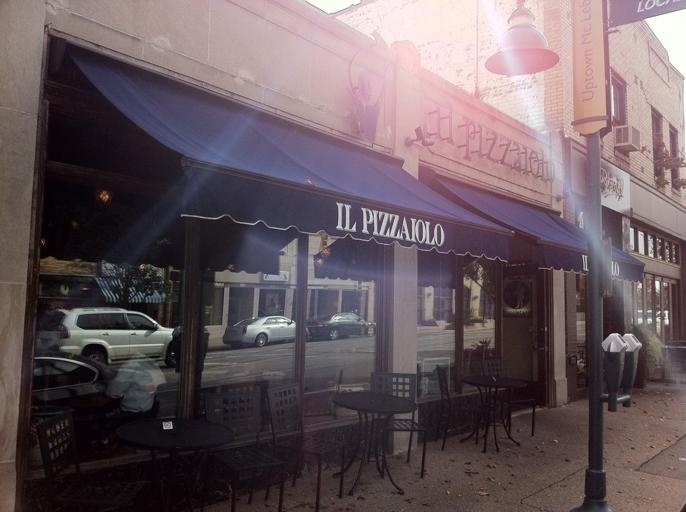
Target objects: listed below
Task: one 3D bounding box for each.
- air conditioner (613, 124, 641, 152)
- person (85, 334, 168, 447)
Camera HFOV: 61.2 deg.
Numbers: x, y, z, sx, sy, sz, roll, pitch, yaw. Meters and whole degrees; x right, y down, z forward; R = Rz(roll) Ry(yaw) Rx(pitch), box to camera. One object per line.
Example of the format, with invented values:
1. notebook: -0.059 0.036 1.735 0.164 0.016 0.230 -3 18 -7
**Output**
1. air conditioner: 8.020 -3.363 16.378 0.790 0.686 0.464 9 -12 -39
2. person: -2.825 1.615 7.030 0.638 1.208 0.503 -6 14 -25
